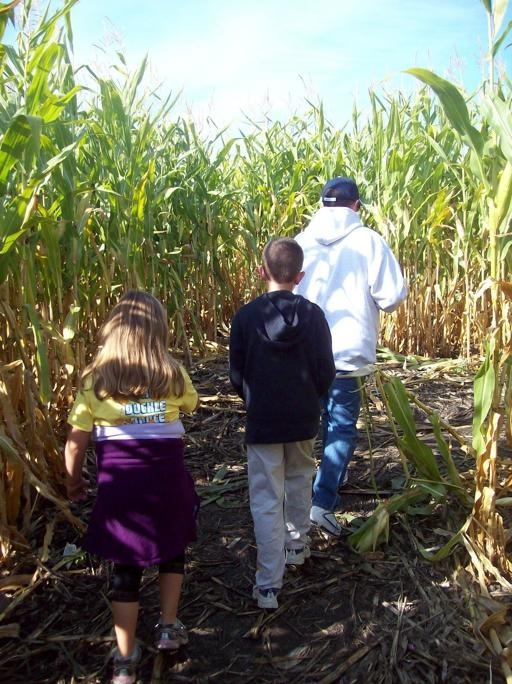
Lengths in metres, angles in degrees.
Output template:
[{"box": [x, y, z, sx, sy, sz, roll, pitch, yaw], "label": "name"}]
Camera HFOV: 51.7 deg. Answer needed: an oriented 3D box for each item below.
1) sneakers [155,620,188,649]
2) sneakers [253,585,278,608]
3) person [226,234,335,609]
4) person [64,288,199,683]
[{"box": [-0.243, 0.840, 1.546, 0.052, 0.070, 0.144, -2, -17, 4], "label": "sneakers"}, {"box": [0.037, 0.855, 1.824, 0.042, 0.058, 0.110, 4, 9, -10], "label": "sneakers"}, {"box": [0.080, 0.261, 1.859, 0.389, 1.221, 0.264, -11, 13, -35], "label": "person"}, {"box": [-0.327, 0.407, 1.533, 0.402, 1.076, 0.356, -8, 12, -24], "label": "person"}]
